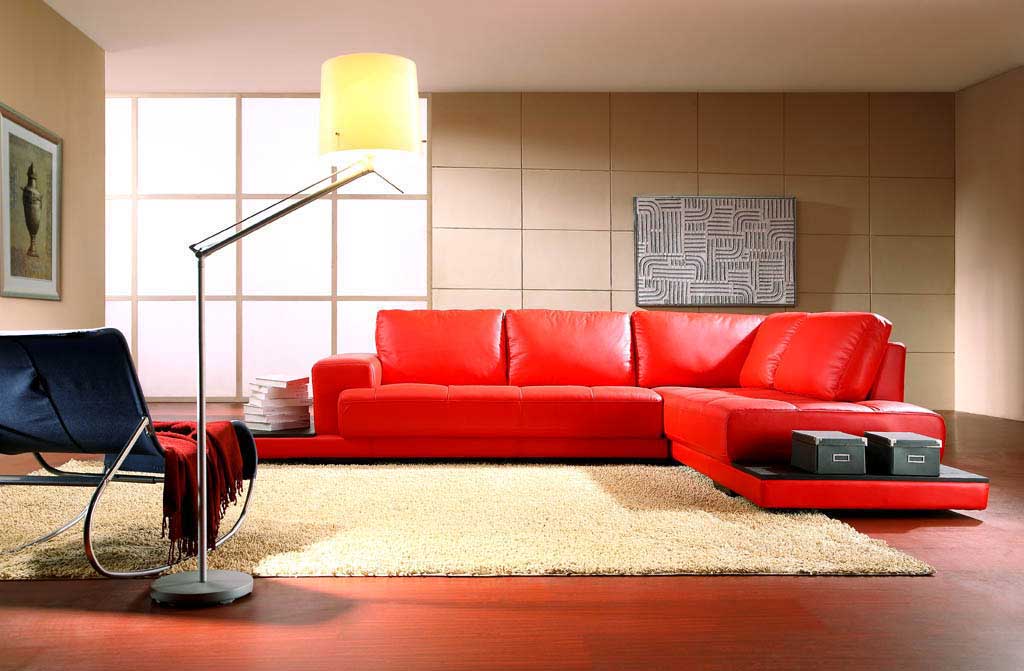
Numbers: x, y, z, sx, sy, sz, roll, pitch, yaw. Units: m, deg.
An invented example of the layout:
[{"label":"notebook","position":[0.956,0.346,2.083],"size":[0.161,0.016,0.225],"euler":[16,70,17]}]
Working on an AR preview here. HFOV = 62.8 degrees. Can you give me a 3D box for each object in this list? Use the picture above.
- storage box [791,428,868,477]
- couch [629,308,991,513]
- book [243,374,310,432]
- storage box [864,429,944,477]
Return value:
[{"label":"storage box","position":[1.732,0.629,4.520],"size":[0.274,0.156,0.306],"euler":[0,-2,-2]},{"label":"couch","position":[1.701,0.408,5.254],"size":[1.301,0.758,1.743],"euler":[1,-2,-1]},{"label":"book","position":[-1.620,0.452,5.798],"size":[0.448,0.315,0.412],"euler":[0,0,-24]},{"label":"storage box","position":[2.158,0.642,4.574],"size":[0.284,0.157,0.345],"euler":[0,-1,4]}]
